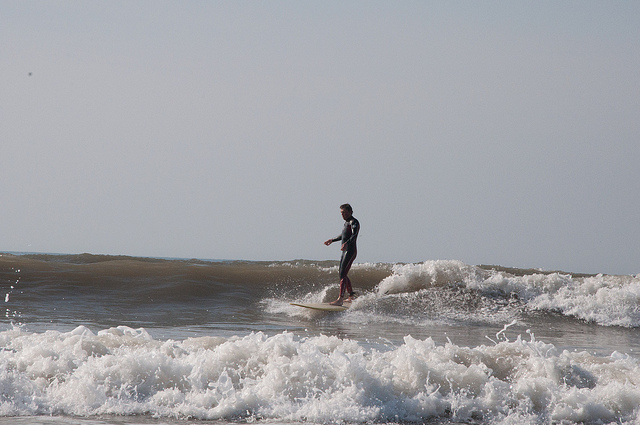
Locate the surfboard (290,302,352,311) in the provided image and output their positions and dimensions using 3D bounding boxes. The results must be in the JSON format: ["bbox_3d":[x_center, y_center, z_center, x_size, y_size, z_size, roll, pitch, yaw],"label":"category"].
[{"bbox_3d":[0.069,1.835,21.166,1.104,0.234,0.600,0,-14,0],"label":"surfboard"}]
